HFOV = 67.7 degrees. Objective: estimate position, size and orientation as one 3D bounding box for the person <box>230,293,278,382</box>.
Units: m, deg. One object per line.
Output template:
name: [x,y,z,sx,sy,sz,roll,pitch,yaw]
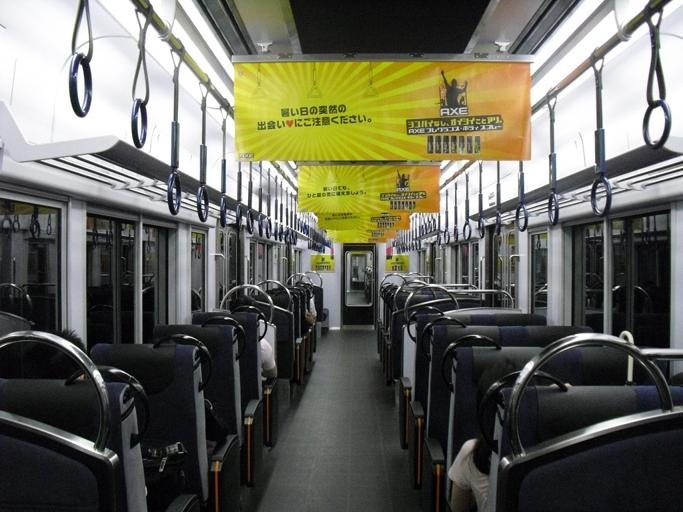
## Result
person: [-0.863,0.916,5.015,0.486,0.774,0.520,3,-12,-15]
